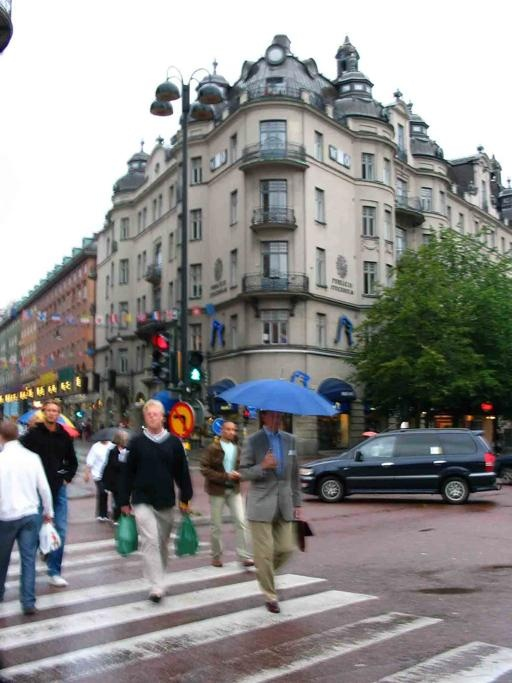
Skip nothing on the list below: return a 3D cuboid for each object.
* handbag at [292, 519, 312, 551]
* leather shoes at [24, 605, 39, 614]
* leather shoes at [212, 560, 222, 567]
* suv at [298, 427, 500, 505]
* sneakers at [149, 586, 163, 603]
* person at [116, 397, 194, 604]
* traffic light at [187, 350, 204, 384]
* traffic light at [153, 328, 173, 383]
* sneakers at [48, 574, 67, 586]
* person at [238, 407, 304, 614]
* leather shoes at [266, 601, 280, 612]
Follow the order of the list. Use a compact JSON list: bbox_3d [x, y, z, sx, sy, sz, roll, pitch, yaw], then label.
[{"bbox_3d":[0.387,1.701,7.919,0.244,0.319,0.218,2,-9,-8],"label":"handbag"},{"bbox_3d":[-1.886,2.218,7.419,0.120,0.063,0.153,1,-6,-16],"label":"leather shoes"},{"bbox_3d":[-0.418,2.385,9.663,0.119,0.066,0.160,0,-6,-2],"label":"leather shoes"},{"bbox_3d":[2.833,2.283,17.595,3.665,1.444,1.599,0,-7,12],"label":"suv"},{"bbox_3d":[-0.868,2.186,7.786,0.103,0.139,0.053,-10,33,8],"label":"sneakers"},{"bbox_3d":[-0.887,1.401,8.004,0.641,1.743,0.433,2,-6,-21],"label":"person"},{"bbox_3d":[-0.949,0.414,14.100,0.246,0.543,0.412,0,-6,-5],"label":"traffic light"},{"bbox_3d":[-1.462,0.235,13.846,0.304,0.763,0.462,0,-6,-7],"label":"traffic light"},{"bbox_3d":[-1.936,2.314,8.721,0.083,0.101,0.233,6,-18,-41],"label":"sneakers"},{"bbox_3d":[0.114,1.425,7.725,0.478,1.650,0.682,-2,-6,17],"label":"person"},{"bbox_3d":[0.141,2.176,7.389,0.111,0.088,0.151,0,-6,0],"label":"leather shoes"}]
